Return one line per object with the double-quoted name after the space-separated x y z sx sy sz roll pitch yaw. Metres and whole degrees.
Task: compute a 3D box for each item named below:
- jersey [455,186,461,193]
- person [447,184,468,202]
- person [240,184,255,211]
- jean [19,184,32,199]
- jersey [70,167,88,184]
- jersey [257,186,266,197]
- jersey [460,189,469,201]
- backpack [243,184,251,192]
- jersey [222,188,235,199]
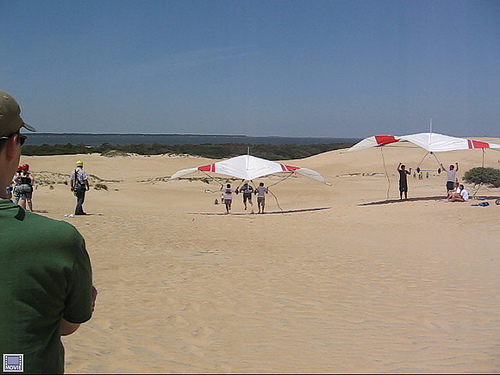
8.190 0.091 18.488 0.252 0.247 0.090 -1 -6 16 "jersey"
8.144 0.236 18.216 0.906 0.637 0.498 0 9 -20 "person"
-0.072 0.150 19.084 0.738 1.020 0.316 0 -33 -2 "person"
-6.582 0.097 13.706 0.490 0.473 0.332 1 17 -17 "jean"
-5.264 -0.370 14.453 0.429 0.529 0.461 0 8 -17 "jersey"
0.454 0.172 18.435 0.294 0.413 0.495 4 8 8 "jersey"
8.387 0.330 18.270 0.303 0.412 0.510 7 9 23 "jersey"
-0.093 0.027 18.935 0.290 0.344 0.636 3 7 -1 "backpack"
-0.841 0.231 18.078 0.528 0.367 0.192 -3 2 -3 "jersey"
